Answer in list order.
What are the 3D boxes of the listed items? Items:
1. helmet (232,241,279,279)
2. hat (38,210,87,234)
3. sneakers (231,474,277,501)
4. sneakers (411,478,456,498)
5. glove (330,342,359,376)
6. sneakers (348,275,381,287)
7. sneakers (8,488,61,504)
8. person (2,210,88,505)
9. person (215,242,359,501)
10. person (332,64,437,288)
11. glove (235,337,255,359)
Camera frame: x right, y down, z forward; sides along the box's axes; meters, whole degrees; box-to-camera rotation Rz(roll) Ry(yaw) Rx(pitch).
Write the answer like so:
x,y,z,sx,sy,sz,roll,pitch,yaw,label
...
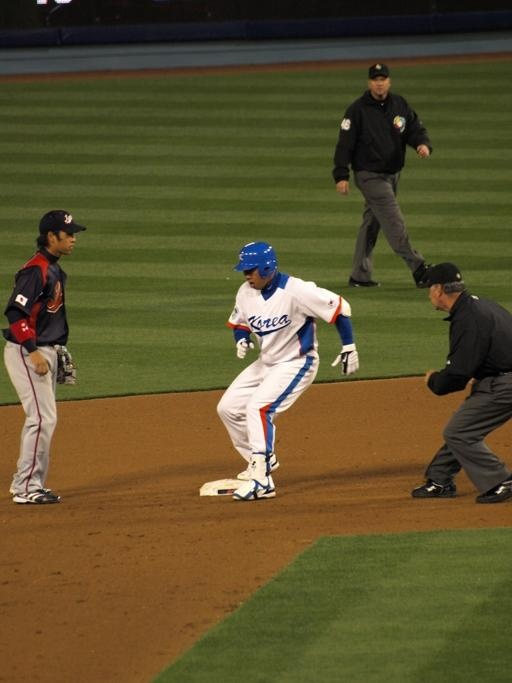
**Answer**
x,y,z,sx,sy,sz,roll,pitch,yaw,label
-0.008,-0.472,6.305,0.233,0.184,0.284,-2,13,-1,helmet
-1.056,-0.650,6.223,0.247,0.106,0.157,-6,15,0,hat
-0.007,0.834,6.291,0.304,0.117,0.096,-1,4,-20,sneakers
0.972,0.805,6.137,0.255,0.096,0.089,0,12,-4,sneakers
0.540,0.113,6.463,0.130,0.200,0.162,4,18,-24,glove
1.104,-0.625,11.567,0.344,0.109,0.100,1,24,-2,sneakers
-1.233,0.864,6.286,0.244,0.088,0.101,-2,-3,6,sneakers
-1.208,0.100,6.257,0.361,1.635,0.585,5,17,25,person
0.164,0.137,6.439,0.797,1.442,0.836,-3,15,-2,person
1.228,-1.558,10.918,0.912,2.222,0.923,1,16,10,person
-0.043,0.018,6.693,0.074,0.105,0.139,9,38,-28,glove
